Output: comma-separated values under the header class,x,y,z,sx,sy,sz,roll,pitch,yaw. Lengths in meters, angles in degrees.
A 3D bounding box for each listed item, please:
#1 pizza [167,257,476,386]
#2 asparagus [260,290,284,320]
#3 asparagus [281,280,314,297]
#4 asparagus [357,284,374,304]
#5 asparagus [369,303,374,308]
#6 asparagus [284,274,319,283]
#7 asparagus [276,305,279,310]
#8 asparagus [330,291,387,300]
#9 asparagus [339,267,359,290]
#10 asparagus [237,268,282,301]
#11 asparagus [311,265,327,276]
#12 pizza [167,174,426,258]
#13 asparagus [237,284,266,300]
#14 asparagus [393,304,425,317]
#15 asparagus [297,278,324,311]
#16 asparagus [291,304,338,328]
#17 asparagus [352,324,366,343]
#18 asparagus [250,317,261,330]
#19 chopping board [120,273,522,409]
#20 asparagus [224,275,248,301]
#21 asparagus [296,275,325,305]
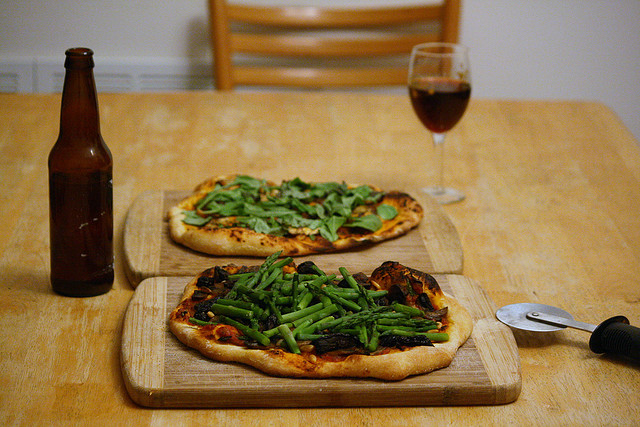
class,x,y,z,sx,sy,sz,roll,pitch,yaw
pizza,0.007,0.182,0.944,0.381,0.057,0.246,1,24,0
asparagus,-0.081,0.153,0.945,0.061,0.015,0.015,-54,32,-12
asparagus,-0.039,0.128,0.968,0.054,0.012,0.016,-21,24,-25
asparagus,0.076,0.137,0.976,0.009,0.008,0.033,6,28,-42
asparagus,0.086,0.154,0.953,0.004,0.004,0.015,-2,4,-23
asparagus,-0.029,0.117,1.025,0.074,0.016,0.019,4,-11,-29
asparagus,-0.071,0.155,0.945,0.005,0.002,0.008,-2,17,-4
asparagus,0.061,0.138,0.970,0.109,0.015,0.015,0,-7,-8
asparagus,0.051,0.113,1.007,0.015,0.012,0.068,-12,31,-14
asparagus,-0.107,0.117,0.983,0.028,0.017,0.112,4,19,21
asparagus,-0.004,0.102,1.027,0.010,0.010,0.037,-7,28,-44
pizza,-0.073,0.014,1.287,0.412,0.054,0.254,0,15,-4
asparagus,-0.114,0.131,0.949,0.056,0.015,0.017,21,7,37
asparagus,0.147,0.162,0.962,0.051,0.013,0.011,18,2,-8
asparagus,-0.020,0.130,0.964,0.018,0.016,0.082,15,38,28
asparagus,-0.009,0.167,0.932,0.060,0.010,0.013,-22,45,-18
asparagus,0.064,0.192,0.914,0.010,0.011,0.037,7,55,-55
asparagus,-0.108,0.179,0.937,0.014,0.018,0.007,-12,-11,-4
chopping board,-0.007,0.197,0.987,0.674,0.050,0.295,1,35,-3
asparagus,-0.146,0.124,0.980,0.016,0.010,0.067,22,25,2
asparagus,-0.012,0.126,0.997,0.085,0.010,0.017,-41,81,-21
